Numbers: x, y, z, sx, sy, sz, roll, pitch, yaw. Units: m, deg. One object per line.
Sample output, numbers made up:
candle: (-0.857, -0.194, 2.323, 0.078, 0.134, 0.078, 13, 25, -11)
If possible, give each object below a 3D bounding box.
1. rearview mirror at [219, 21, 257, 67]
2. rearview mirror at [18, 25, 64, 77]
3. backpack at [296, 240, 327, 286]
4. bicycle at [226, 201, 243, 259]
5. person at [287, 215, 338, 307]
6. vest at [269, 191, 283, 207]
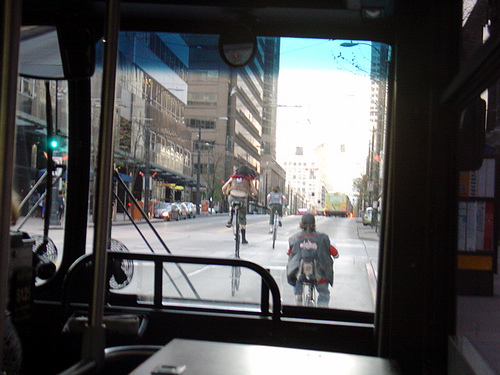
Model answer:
rearview mirror: (-0.094, -1.012, 3.308, 0.239, 0.344, 0.047, -1, -3, 14)
rearview mirror: (-1.346, -0.889, 3.001, 0.315, 0.216, 0.101, 2, 1, 10)
backpack: (0.467, 0.579, 3.605, 0.206, 0.355, 0.183, -3, 9, 9)
bicycle: (-0.116, 0.332, 3.875, 0.132, 0.402, 0.291, 1, 1, -12)
person: (0.460, 0.623, 3.733, 0.426, 0.889, 0.461, 1, 3, 31)
vest: (0.243, 0.103, 4.316, 0.139, 0.172, 0.087, 1, 10, 4)
